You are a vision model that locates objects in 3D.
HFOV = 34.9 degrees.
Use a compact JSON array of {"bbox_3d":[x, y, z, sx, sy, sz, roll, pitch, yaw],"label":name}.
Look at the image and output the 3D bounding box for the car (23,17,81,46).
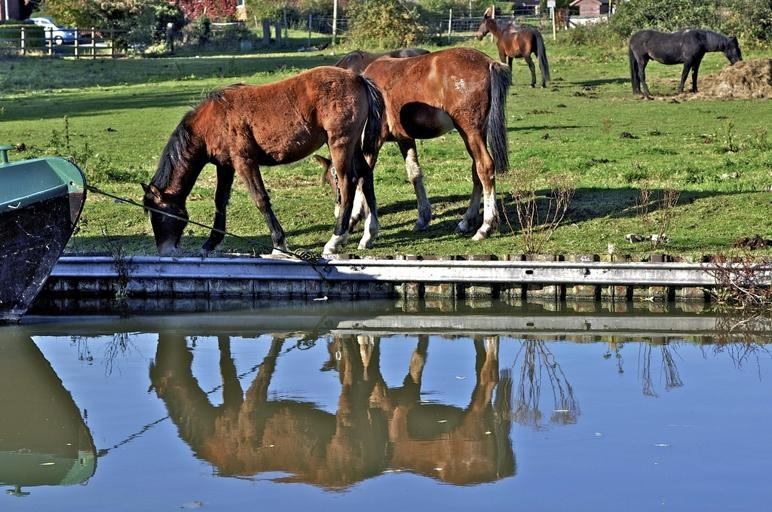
[{"bbox_3d":[-16.294,-10.886,60.435,1.424,0.800,7.553,-7,18,-21],"label":"car"}]
